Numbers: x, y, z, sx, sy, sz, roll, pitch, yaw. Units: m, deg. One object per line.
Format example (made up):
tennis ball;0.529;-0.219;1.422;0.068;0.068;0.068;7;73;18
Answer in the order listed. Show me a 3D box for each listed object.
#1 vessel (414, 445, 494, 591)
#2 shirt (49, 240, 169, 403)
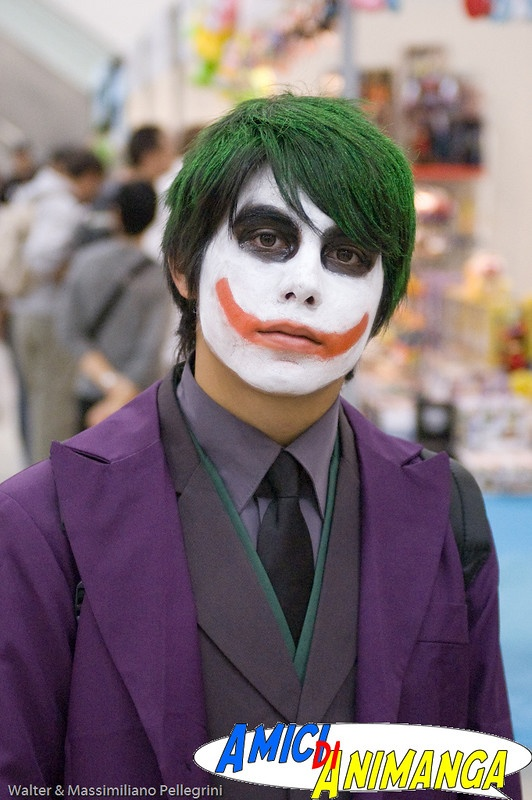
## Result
vessel;0.398;0.227;1.976;0.183;0.221;0.086;-6;-7;-43
shirt;-0.690;-0.378;4.471;0.745;0.808;0.394;3;23;-7
